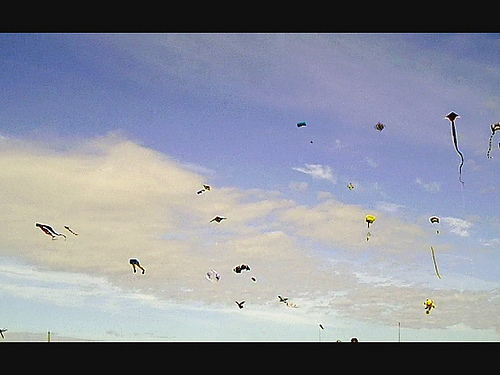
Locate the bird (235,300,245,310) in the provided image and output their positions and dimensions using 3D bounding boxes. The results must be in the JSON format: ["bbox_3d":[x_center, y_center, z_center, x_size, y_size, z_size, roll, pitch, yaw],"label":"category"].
[{"bbox_3d":[-0.035,0.396,2.379,0.025,0.033,0.014,10,-48,18],"label":"bird"}]
